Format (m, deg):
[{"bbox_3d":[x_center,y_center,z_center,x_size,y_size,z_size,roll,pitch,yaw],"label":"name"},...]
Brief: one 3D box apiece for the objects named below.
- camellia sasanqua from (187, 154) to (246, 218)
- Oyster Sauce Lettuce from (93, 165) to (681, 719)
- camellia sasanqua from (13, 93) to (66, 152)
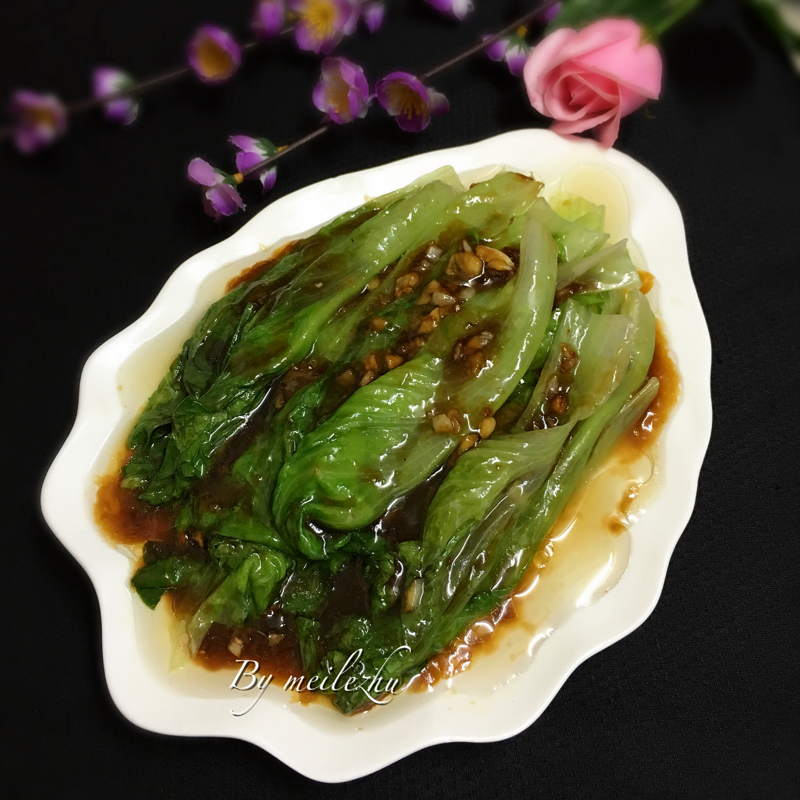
[{"bbox_3d":[-0.715,-0.853,3.804,0.194,0.231,0.261,19,33,24],"label":"camellia sasanqua"},{"bbox_3d":[-0.067,0.128,3.514,2.169,1.566,0.514,-40,-8,-4],"label":"Oyster Sauce Lettuce"},{"bbox_3d":[-1.498,-1.155,3.889,0.202,0.262,0.090,2,11,-9],"label":"camellia sasanqua"}]
